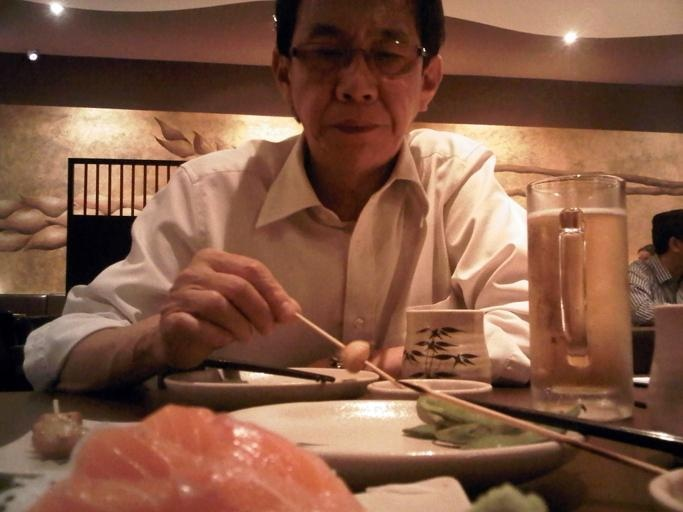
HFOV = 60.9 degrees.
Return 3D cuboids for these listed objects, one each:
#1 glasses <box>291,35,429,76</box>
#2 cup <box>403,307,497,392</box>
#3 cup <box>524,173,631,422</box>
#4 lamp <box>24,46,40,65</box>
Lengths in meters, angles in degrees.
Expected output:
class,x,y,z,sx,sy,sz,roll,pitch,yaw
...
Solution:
class,x,y,z,sx,sy,sz,roll,pitch,yaw
glasses,0.021,-0.334,0.979,0.213,0.060,0.057,1,-4,0
cup,0.107,0.092,0.591,0.068,0.078,0.082,5,-4,-14
cup,0.201,0.031,0.485,0.102,0.181,0.068,1,0,39
lamp,-2.381,-1.544,4.466,0.100,0.101,0.074,-3,2,-11
